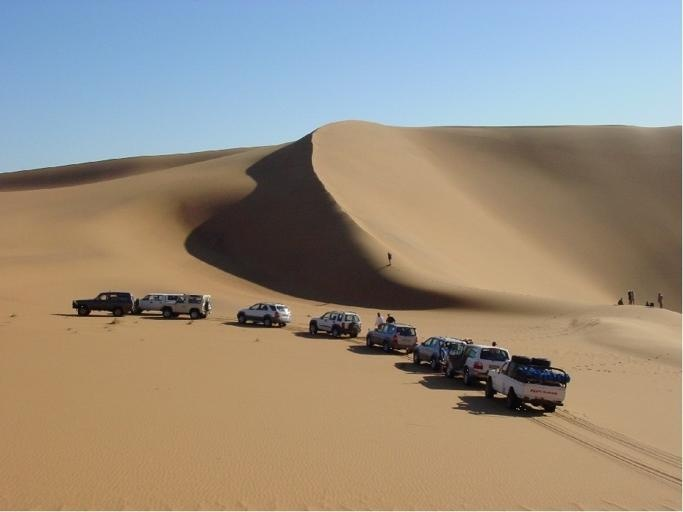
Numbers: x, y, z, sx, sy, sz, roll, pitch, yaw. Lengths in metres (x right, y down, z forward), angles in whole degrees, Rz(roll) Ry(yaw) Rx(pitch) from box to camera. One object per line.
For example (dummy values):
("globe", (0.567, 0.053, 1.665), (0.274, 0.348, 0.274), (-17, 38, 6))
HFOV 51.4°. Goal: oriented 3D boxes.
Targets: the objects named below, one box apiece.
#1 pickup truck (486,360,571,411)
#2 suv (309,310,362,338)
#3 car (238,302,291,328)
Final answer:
("pickup truck", (7.941, 5.421, 30.702), (2.176, 1.963, 4.000), (8, -2, -11))
("suv", (-0.316, 4.334, 44.904), (1.575, 1.300, 3.128), (1, 5, -45))
("car", (-5.220, 3.902, 47.724), (3.397, 1.292, 1.572), (5, 1, 27))
